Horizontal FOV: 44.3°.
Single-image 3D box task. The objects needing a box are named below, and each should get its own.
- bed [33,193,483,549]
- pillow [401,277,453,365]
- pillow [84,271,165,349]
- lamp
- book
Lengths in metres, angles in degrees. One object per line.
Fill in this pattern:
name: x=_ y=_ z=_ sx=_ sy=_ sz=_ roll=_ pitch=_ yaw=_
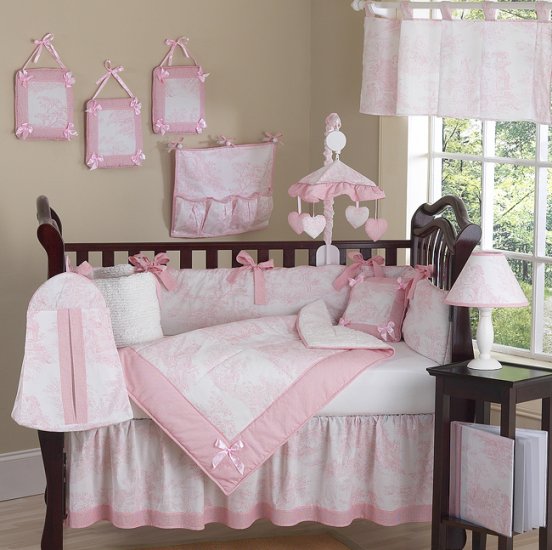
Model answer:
bed: x=-0.059 y=0.383 z=2.434 sx=1.609 sy=1.168 sz=0.548 roll=-1 pitch=3 yaw=-16
pillow: x=0.547 y=0.178 z=2.454 sx=0.106 sy=0.232 sz=0.253 roll=12 pitch=-2 yaw=-19
pillow: x=-0.559 y=0.133 z=2.444 sx=0.158 sy=0.247 sz=0.276 roll=-18 pitch=-5 yaw=26
lamp: x=0.652 y=0.106 z=2.096 sx=0.230 sy=0.359 sz=0.206 roll=3 pitch=12 yaw=28
book: x=0.684 y=0.559 z=2.128 sx=0.324 sy=0.339 sz=0.393 roll=2 pitch=0 yaw=28
